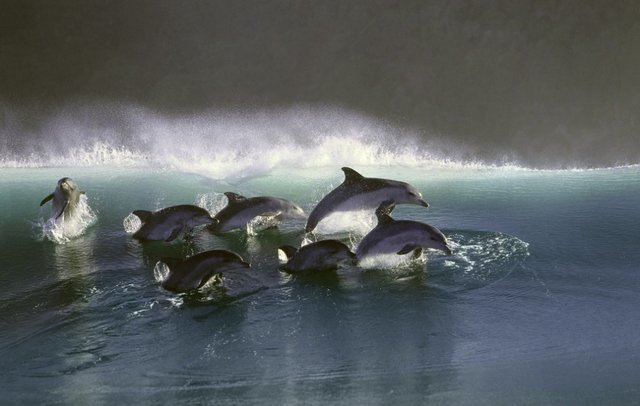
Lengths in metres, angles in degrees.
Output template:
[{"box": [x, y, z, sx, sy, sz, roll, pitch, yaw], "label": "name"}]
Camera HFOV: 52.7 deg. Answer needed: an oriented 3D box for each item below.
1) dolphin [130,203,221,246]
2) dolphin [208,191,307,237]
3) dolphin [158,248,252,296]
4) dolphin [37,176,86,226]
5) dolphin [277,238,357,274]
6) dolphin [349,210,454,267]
[{"box": [-2.694, 0.389, 12.152, 1.915, 0.710, 0.617, -8, 5, 13], "label": "dolphin"}, {"box": [-1.258, 0.199, 12.513, 1.781, 0.769, 0.380, 0, 3, -11], "label": "dolphin"}, {"box": [-1.787, 1.063, 10.235, 1.716, 0.698, 0.569, -12, 0, 6], "label": "dolphin"}, {"box": [-4.901, -0.042, 12.186, 0.669, 0.342, 0.890, 2, -35, -21], "label": "dolphin"}, {"box": [-0.050, 0.904, 10.582, 1.343, 0.744, 0.510, -8, -2, 11], "label": "dolphin"}, {"box": [1.205, 0.556, 10.884, 1.988, 0.806, 0.656, -11, 3, 34], "label": "dolphin"}]
